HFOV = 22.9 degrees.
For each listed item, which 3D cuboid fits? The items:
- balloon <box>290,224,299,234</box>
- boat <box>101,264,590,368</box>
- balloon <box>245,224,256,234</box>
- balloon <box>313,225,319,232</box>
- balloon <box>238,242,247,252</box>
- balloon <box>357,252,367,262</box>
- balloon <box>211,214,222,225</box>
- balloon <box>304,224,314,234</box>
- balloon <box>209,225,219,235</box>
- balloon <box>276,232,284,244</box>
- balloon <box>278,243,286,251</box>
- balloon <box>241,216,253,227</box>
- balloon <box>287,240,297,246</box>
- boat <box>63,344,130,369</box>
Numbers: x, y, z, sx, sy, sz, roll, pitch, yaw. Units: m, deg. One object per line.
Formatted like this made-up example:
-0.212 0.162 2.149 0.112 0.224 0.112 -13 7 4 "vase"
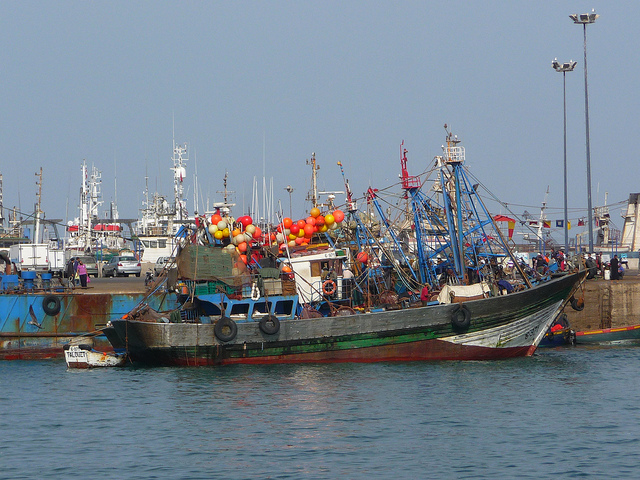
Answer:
-0.905 -0.412 60.287 0.314 0.329 0.309 2 12 6 "balloon"
1.050 3.031 59.272 17.469 3.423 3.404 -2 3 1 "boat"
-2.567 -0.416 59.764 0.359 0.266 0.341 -3 -2 -4 "balloon"
-0.078 -0.447 60.383 0.176 0.212 0.180 0 3 8 "balloon"
-2.840 0.247 59.701 0.294 0.298 0.349 29 -28 15 "balloon"
1.711 0.669 60.361 0.315 0.322 0.361 9 -1 -31 "balloon"
-3.869 -0.790 59.883 0.334 0.341 0.397 7 -41 0 "balloon"
-0.352 -0.396 60.213 0.311 0.318 0.369 6 -47 7 "balloon"
-3.910 -0.410 59.684 0.297 0.303 0.353 18 -35 17 "balloon"
-1.442 -0.079 60.232 0.276 0.330 0.281 0 4 9 "balloon"
-1.397 0.238 60.355 0.274 0.209 0.320 -1 -1 1 "balloon"
-2.732 -0.725 59.914 0.351 0.364 0.409 3 -2 -1 "balloon"
-1.014 0.112 60.585 0.209 0.216 0.251 3 -3 -5 "balloon"
-8.363 4.423 58.980 1.698 0.673 1.100 1 -1 -26 "boat"
